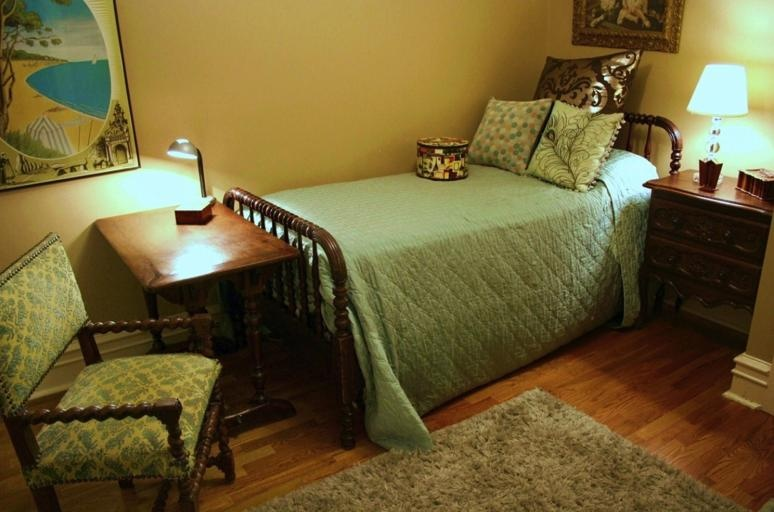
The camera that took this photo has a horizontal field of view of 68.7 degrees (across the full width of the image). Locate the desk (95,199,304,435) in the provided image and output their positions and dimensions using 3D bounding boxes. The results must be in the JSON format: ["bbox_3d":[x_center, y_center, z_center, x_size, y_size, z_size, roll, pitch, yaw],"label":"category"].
[{"bbox_3d":[-0.933,0.465,3.290,0.935,1.131,1.586,-14,31,-27],"label":"desk"}]

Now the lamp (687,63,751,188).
[{"bbox_3d":[1.841,-0.742,3.195,0.289,0.634,0.457,18,30,27],"label":"lamp"}]

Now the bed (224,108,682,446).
[{"bbox_3d":[0.354,-0.033,3.281,2.221,1.264,1.587,-18,31,-29],"label":"bed"}]

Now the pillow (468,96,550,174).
[{"bbox_3d":[0.849,-0.748,3.628,0.156,0.476,0.500,13,14,-30],"label":"pillow"}]

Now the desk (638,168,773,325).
[{"bbox_3d":[1.779,-0.109,3.445,0.756,0.914,0.699,18,29,39],"label":"desk"}]
